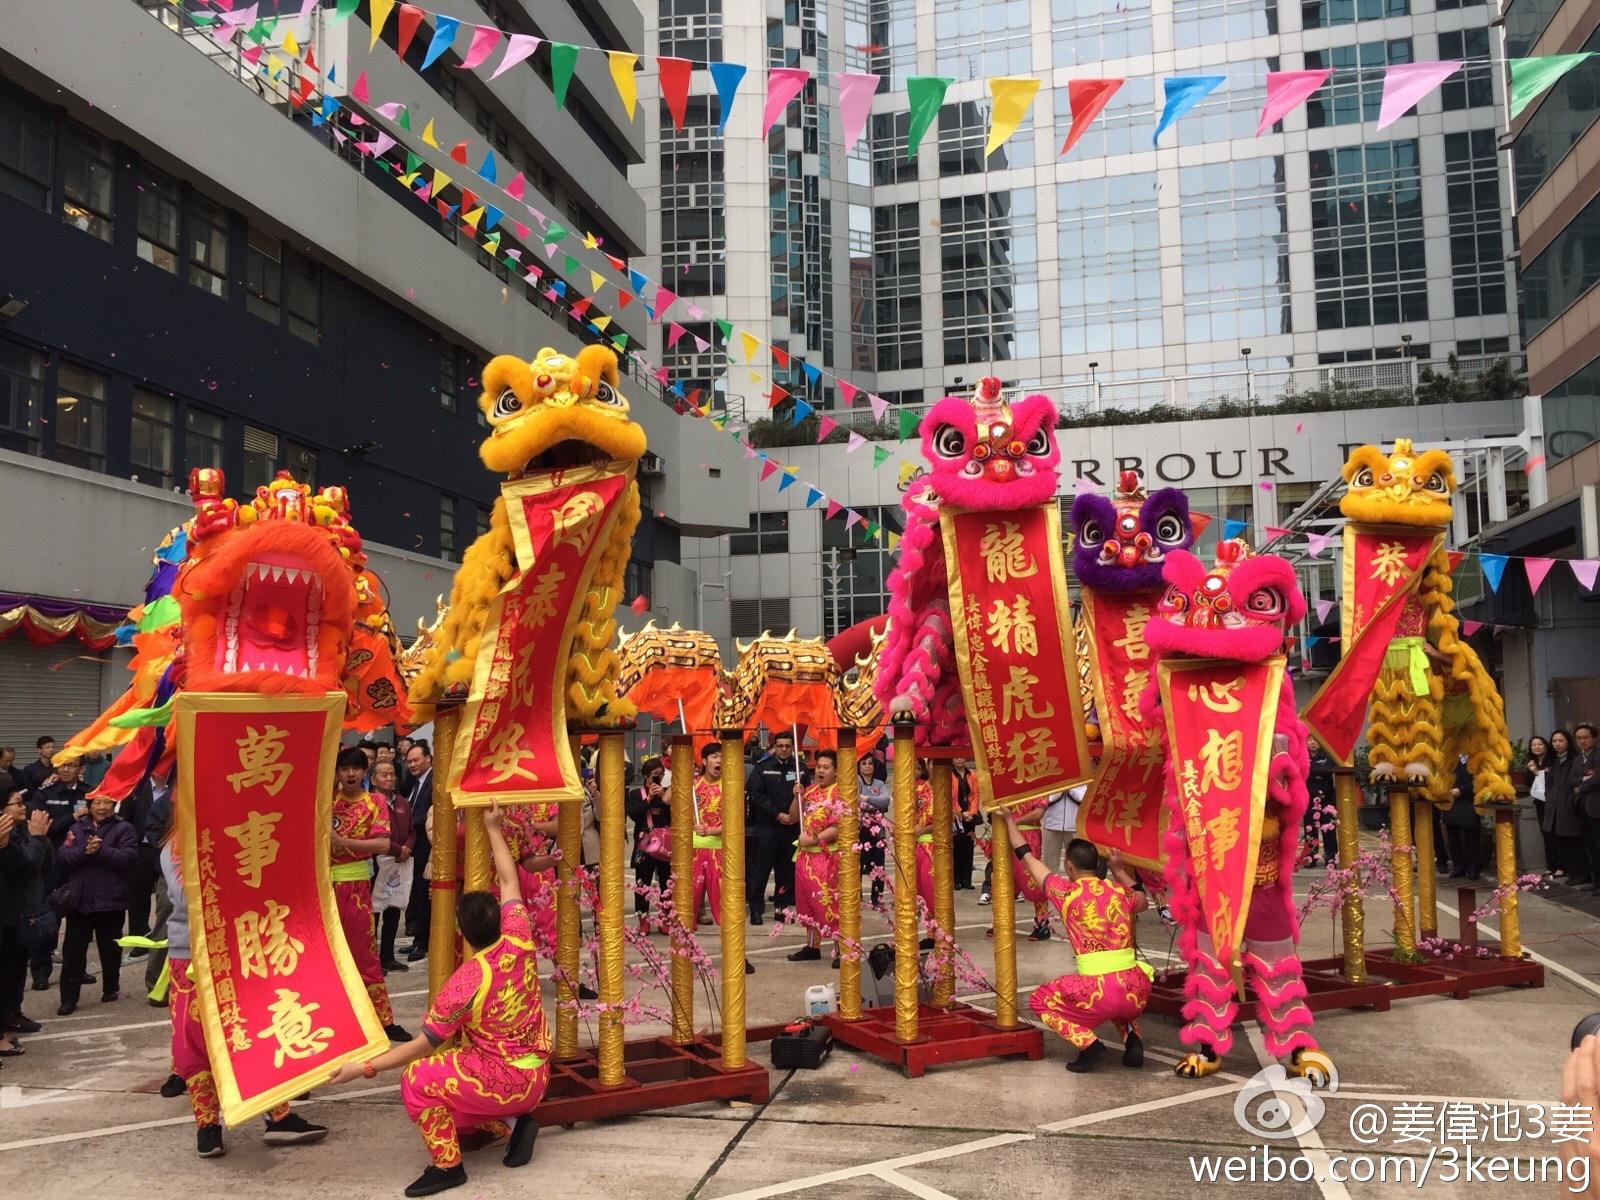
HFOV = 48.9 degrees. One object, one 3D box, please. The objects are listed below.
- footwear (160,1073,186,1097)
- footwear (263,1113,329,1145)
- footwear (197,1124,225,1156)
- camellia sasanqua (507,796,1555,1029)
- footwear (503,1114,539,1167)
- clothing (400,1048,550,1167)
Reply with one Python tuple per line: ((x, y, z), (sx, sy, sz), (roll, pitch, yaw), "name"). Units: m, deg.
((-4.543, 3.528, 12.827), (0.178, 0.133, 0.331), (11, -23, -16), "footwear")
((-3.460, 3.616, 12.090), (0.491, 0.217, 0.181), (1, -7, -9), "footwear")
((-3.988, 3.670, 11.974), (0.113, 0.138, 0.306), (3, -6, -18), "footwear")
((0.815, 1.949, 13.294), (6.444, 2.091, 1.357), (3, 3, -7), "camellia sasanqua")
((-1.859, 3.629, 11.939), (0.153, 0.379, 0.161), (30, -23, -35), "footwear")
((-2.144, 3.277, 11.865), (0.857, 0.554, 0.798), (-8, -7, -3), "clothing")
